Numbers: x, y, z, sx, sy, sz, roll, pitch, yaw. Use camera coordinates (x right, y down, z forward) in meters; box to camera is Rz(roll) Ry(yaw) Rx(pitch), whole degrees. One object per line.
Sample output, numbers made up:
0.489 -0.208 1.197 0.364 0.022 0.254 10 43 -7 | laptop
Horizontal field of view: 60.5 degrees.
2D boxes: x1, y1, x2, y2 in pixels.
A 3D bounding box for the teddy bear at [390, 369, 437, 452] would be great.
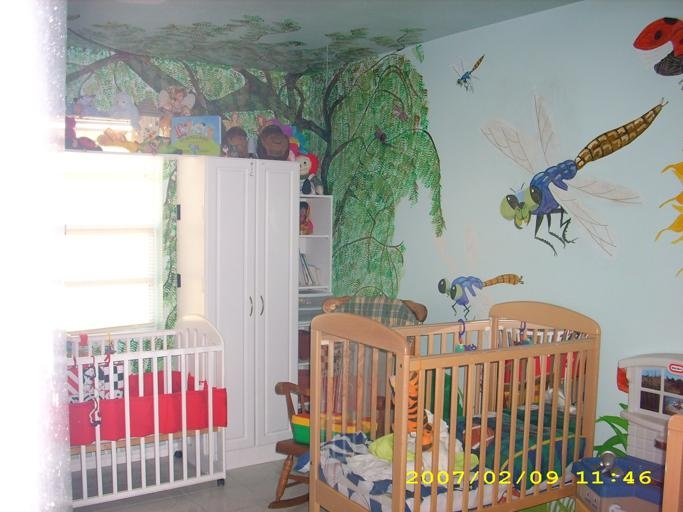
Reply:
0.323 0.679 2.368 0.112 0.449 0.139 -5 12 31 | teddy bear
